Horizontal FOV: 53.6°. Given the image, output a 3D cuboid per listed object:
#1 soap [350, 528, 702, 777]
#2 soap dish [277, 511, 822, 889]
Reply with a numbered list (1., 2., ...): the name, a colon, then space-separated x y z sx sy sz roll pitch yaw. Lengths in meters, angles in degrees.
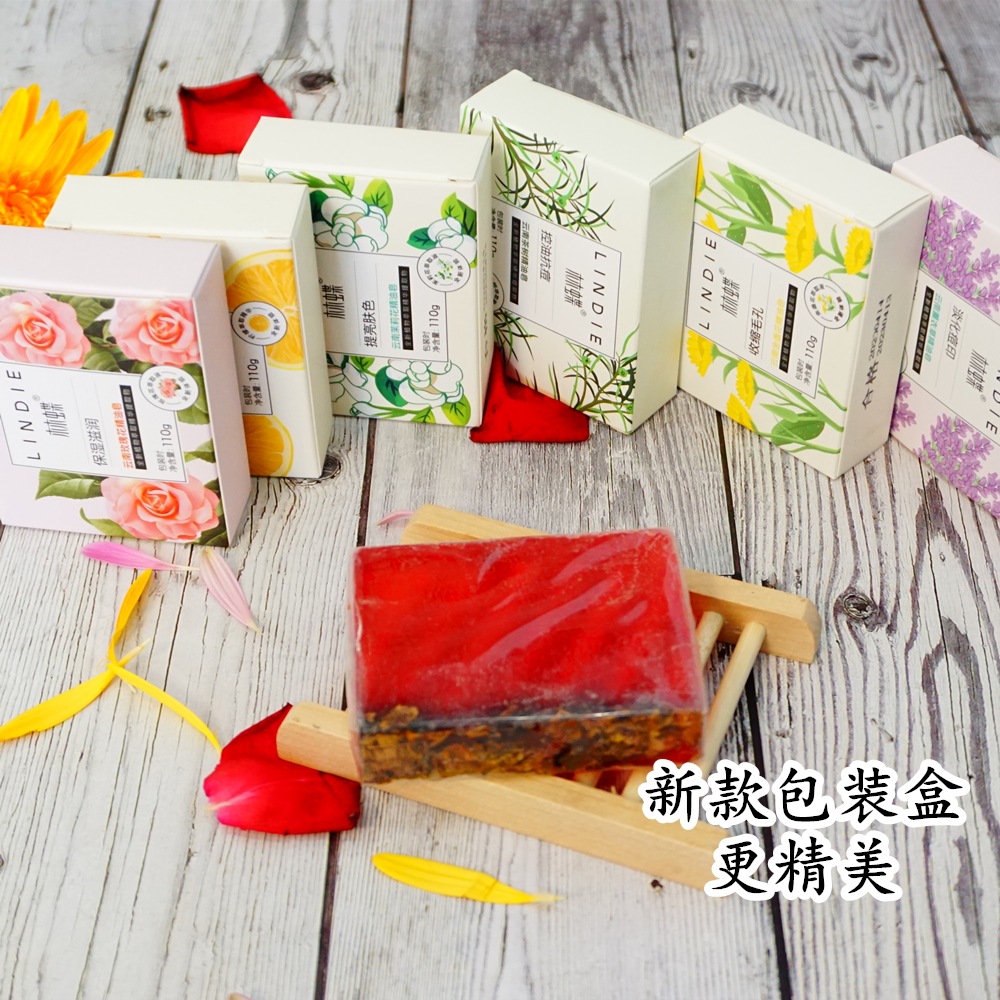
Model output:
1. soap: 0.013 0.091 0.632 0.210 0.067 0.153 -2 48 -4
2. soap dish: 0.030 0.137 0.636 0.344 0.101 0.223 -12 24 -19
